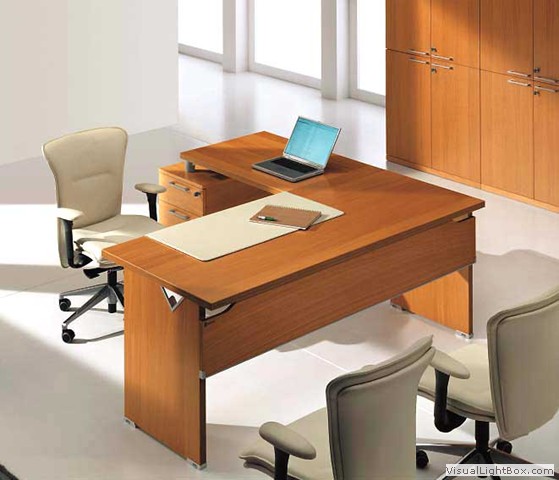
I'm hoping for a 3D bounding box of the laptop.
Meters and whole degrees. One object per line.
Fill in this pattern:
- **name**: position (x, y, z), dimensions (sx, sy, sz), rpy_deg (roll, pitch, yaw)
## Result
- **laptop**: position (0.188, -0.566, 3.946), dimensions (0.551, 0.543, 0.403), rpy_deg (25, 10, 39)
